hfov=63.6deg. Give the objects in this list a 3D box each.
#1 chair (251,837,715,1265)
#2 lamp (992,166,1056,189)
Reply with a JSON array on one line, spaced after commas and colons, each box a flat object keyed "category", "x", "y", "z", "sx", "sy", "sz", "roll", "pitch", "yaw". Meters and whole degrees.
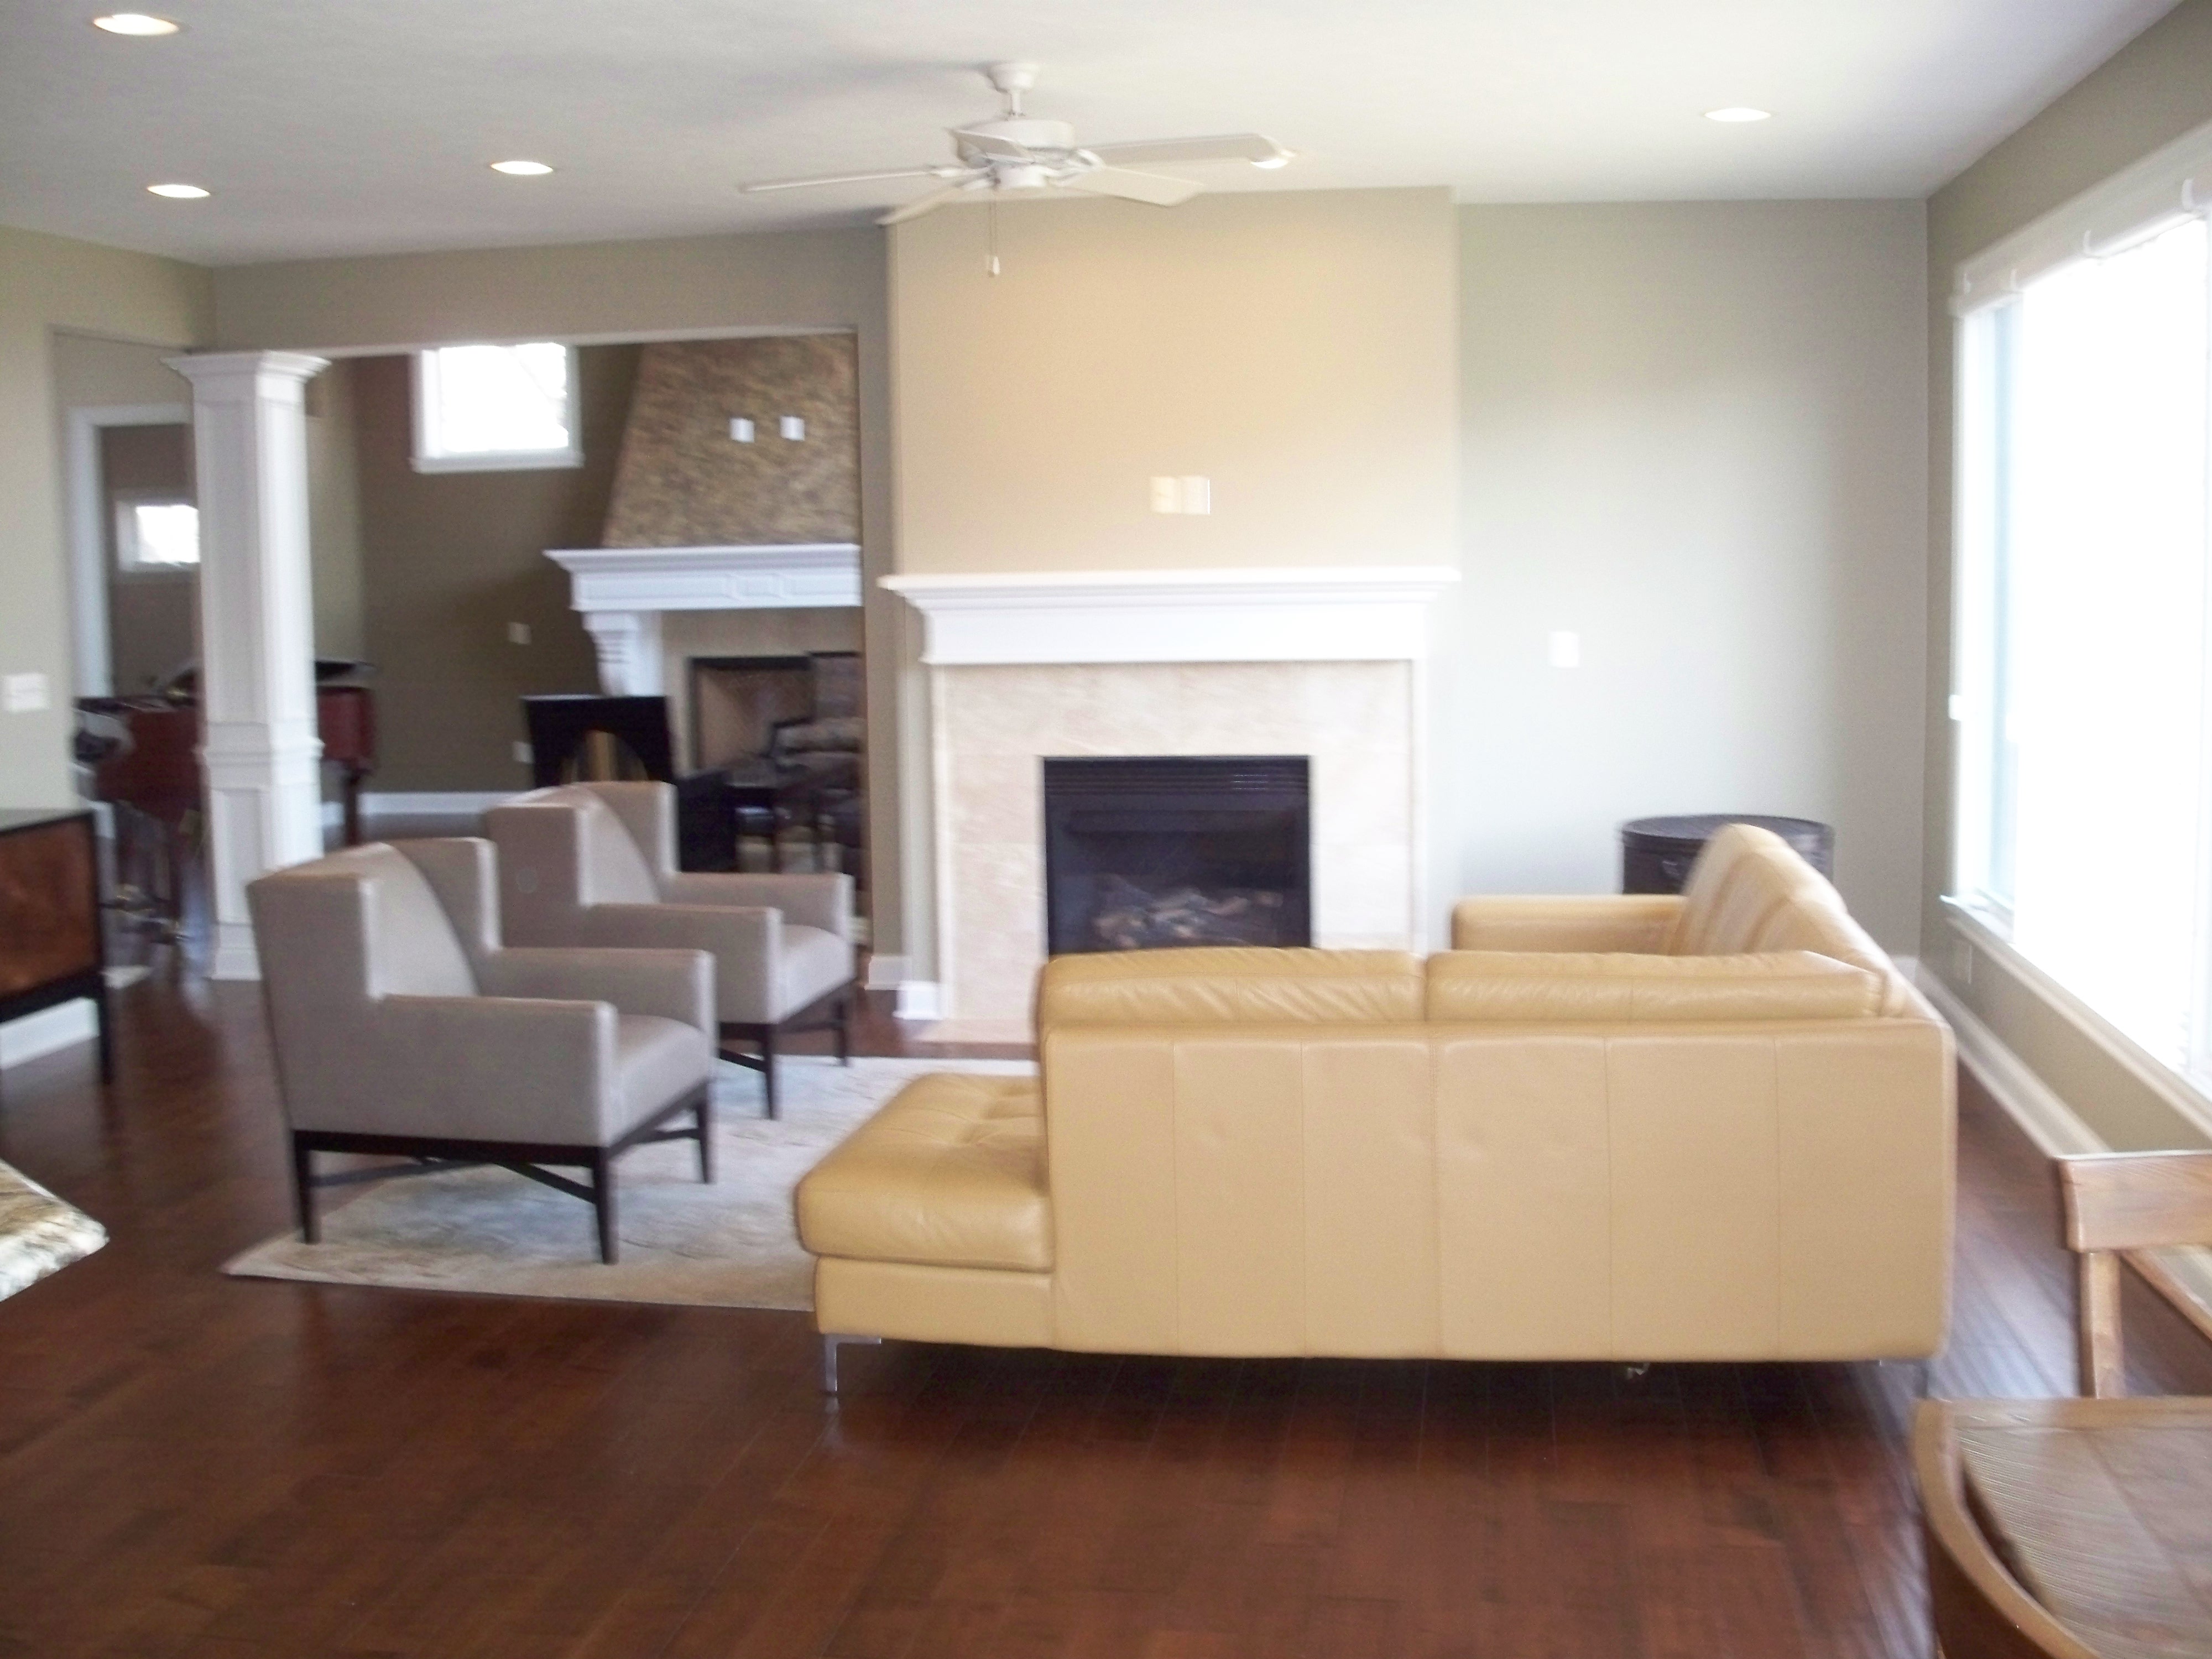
[{"category": "chair", "x": -1.665, "y": 0.553, "z": 4.890, "sx": 0.972, "sy": 0.992, "sz": 0.726, "roll": 1, "pitch": 13, "yaw": 12}, {"category": "lamp", "x": -0.223, "y": -1.761, "z": 4.812, "sx": 0.181, "sy": 0.031, "sz": 0.115, "roll": 3, "pitch": 12, "yaw": 19}]
